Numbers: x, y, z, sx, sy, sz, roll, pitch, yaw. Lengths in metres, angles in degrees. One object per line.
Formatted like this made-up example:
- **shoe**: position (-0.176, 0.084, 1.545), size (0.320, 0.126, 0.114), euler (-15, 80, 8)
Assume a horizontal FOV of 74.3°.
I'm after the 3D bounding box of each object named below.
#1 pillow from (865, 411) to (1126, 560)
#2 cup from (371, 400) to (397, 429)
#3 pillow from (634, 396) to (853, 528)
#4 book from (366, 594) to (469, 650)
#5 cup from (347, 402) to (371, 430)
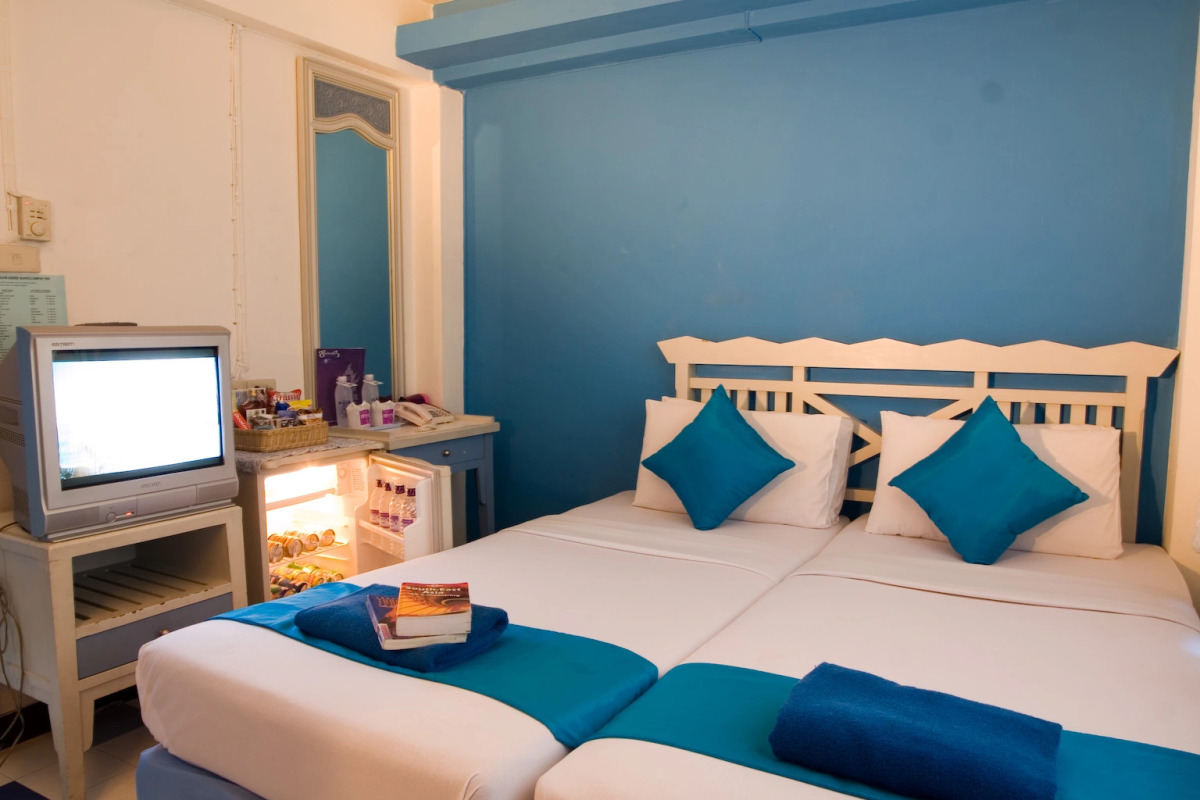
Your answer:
- **pillow**: position (1.939, 0.331, 3.404), size (1.020, 0.569, 0.283), euler (4, -20, 16)
- **cup**: position (-1.192, 0.067, 4.453), size (0.130, 0.170, 0.137), euler (-1, 6, 0)
- **pillow**: position (0.865, 0.304, 3.688), size (1.045, 0.565, 0.272), euler (7, -13, 17)
- **book**: position (-0.664, 0.746, 2.656), size (0.419, 0.095, 0.182), euler (2, 12, 33)
- **cup**: position (-1.329, 0.082, 4.353), size (0.066, 0.119, 0.125), euler (7, 11, 34)
